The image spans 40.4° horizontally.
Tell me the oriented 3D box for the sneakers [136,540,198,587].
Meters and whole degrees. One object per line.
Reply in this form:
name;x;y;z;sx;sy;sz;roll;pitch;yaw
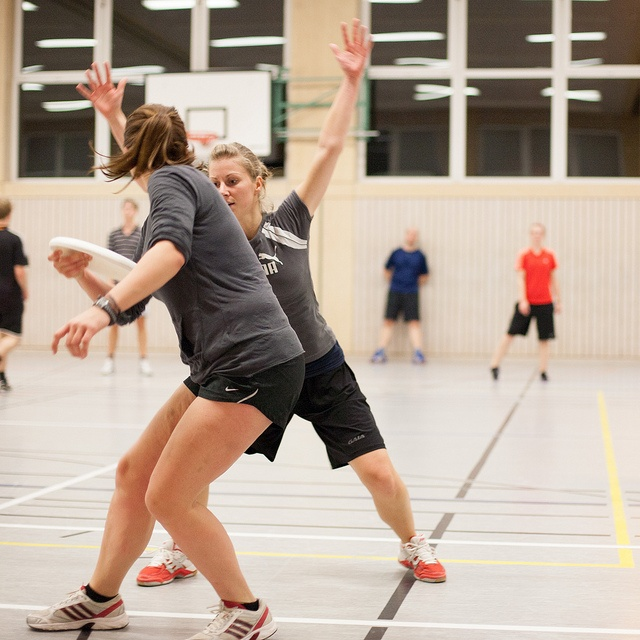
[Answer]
sneakers;-0.570;0.869;3.120;0.117;0.139;0.327;-5;-7;26

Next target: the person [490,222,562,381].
person;2.431;-0.218;10.043;0.734;1.774;0.715;3;0;14

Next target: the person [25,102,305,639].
person;-0.461;0.160;2.459;0.704;1.514;0.702;3;0;19

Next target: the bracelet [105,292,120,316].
bracelet;-0.518;-0.045;2.178;0.046;0.012;0.044;37;-9;13

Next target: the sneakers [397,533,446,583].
sneakers;0.375;0.859;3.112;0.090;0.081;0.215;-4;3;-25

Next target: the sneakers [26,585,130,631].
sneakers;-0.738;0.886;2.678;0.347;0.127;0.111;3;-5;-7
